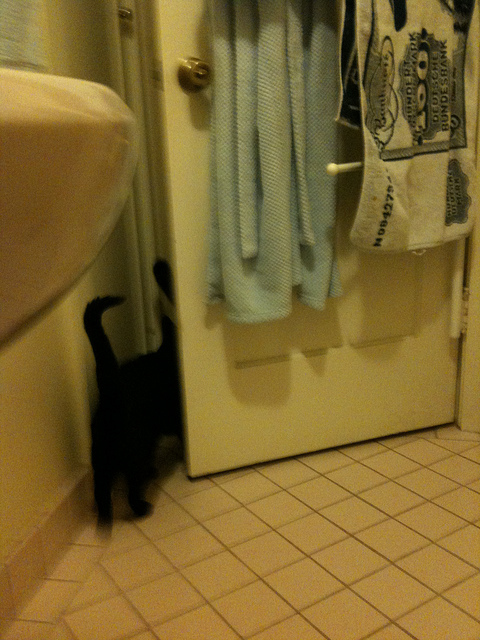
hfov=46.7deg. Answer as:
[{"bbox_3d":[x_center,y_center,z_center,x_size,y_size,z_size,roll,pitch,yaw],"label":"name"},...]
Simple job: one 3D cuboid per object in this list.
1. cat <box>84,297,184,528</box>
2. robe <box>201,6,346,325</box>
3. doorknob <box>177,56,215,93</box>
[{"bbox_3d":[-0.206,0.170,1.127,0.088,0.471,0.278,3,14,25],"label":"cat"},{"bbox_3d":[0.052,-0.294,1.090,0.240,0.615,0.137,-7,23,-14],"label":"robe"},{"bbox_3d":[-0.081,-0.447,1.003,0.055,0.053,0.031,-12,34,-36],"label":"doorknob"}]
